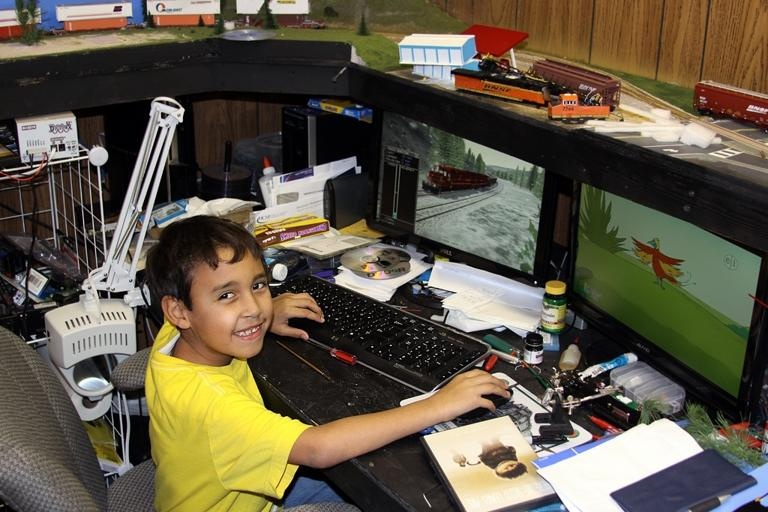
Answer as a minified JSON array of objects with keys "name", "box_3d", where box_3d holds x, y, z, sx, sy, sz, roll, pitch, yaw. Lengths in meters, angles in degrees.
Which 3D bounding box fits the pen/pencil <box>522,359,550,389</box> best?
[{"name":"pen/pencil","box_3d":[0.395,0.308,1.341,0.026,0.009,0.073,-28,32,-12]}]

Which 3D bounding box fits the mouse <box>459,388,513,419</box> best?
[{"name":"mouse","box_3d":[0.230,0.341,1.197,0.110,0.024,0.053,-25,28,-22]}]

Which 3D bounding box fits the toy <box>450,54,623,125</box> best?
[{"name":"toy","box_3d":[0.405,-0.435,1.438,0.391,0.113,0.220,20,38,27]}]

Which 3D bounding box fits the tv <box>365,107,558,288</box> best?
[{"name":"tv","box_3d":[0.265,-0.216,1.723,0.699,0.495,0.111,22,33,40]}]

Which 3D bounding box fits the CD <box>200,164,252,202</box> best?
[{"name":"CD","box_3d":[-0.674,-0.300,2.239,0.186,0.147,0.164,3,29,-5]}]

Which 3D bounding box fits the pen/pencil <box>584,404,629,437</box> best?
[{"name":"pen/pencil","box_3d":[0.507,0.379,1.187,0.022,0.018,0.079,-21,34,-41]}]

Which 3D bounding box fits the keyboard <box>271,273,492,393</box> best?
[{"name":"keyboard","box_3d":[0.110,0.230,1.543,0.419,0.236,0.694,-19,29,-41]}]

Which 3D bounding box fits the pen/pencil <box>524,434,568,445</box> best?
[{"name":"pen/pencil","box_3d":[0.361,0.404,1.144,0.055,0.010,0.029,0,10,-4]}]
